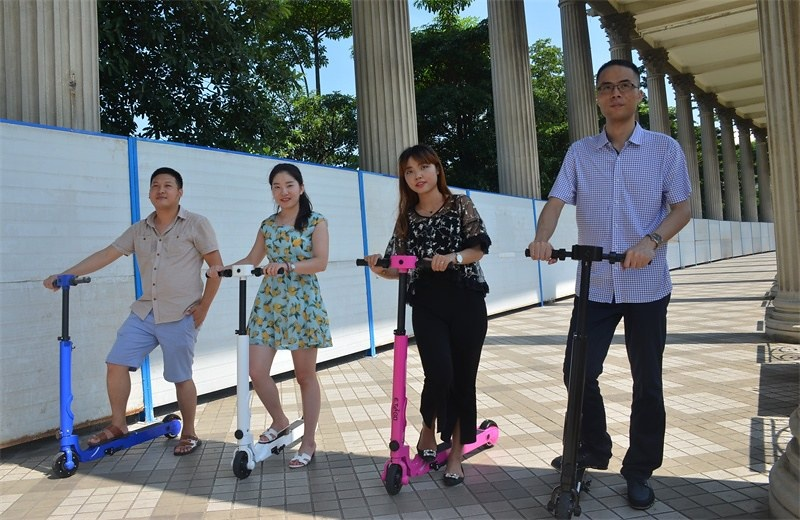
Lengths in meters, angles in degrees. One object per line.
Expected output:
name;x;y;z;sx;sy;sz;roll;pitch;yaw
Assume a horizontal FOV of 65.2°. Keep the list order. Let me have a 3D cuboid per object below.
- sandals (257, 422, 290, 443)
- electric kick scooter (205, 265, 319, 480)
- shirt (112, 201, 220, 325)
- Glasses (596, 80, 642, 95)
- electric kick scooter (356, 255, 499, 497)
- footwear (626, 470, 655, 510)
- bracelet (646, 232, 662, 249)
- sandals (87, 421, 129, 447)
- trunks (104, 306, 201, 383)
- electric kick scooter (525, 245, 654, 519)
sandals;-1.183;1.615;5.826;0.108;0.094;0.307;-7;-7;24
electric kick scooter;-1.297;0.951;5.646;0.521;1.855;0.673;-3;8;-2
shirt;-2.363;0.049;6.185;1.294;1.417;0.599;0;-2;1
Glasses;1.709;-1.352;4.916;0.271;0.095;0.055;-2;8;8
electric kick scooter;0.190;0.893;5.475;1.117;1.959;0.581;-8;10;-30
footwear;1.912;1.778;4.981;0.187;0.182;0.446;-11;15;17
bracelet;1.903;-0.150;4.690;0.062;0.085;0.091;-35;65;-26
sandals;-2.759;1.655;5.977;0.128;0.156;0.392;-20;-13;38
trunks;-2.457;0.801;6.126;0.734;0.692;0.387;13;-5;1
electric kick scooter;1.395;0.927;4.744;0.476;2.098;0.576;4;11;39
